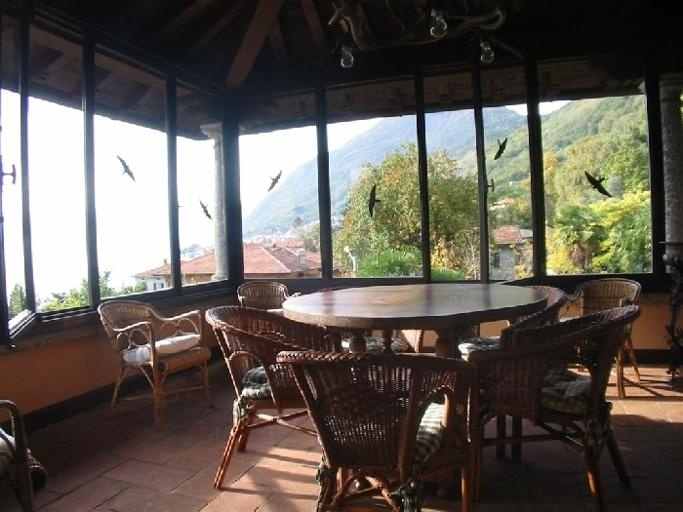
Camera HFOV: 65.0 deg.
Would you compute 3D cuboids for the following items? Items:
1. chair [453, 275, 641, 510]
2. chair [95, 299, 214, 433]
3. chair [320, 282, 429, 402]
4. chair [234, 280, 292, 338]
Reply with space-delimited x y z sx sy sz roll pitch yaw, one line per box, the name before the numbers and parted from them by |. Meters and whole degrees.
chair | 1.176 0.649 3.216 1.034 1.358 1.181 -1 -2 26
chair | -1.464 0.810 4.452 0.911 1.181 0.820 -2 0 28
chair | 0.177 0.455 2.897 0.483 0.619 0.434 1 -5 0
chair | -0.797 0.450 5.203 0.354 0.446 0.333 -1 0 -19
